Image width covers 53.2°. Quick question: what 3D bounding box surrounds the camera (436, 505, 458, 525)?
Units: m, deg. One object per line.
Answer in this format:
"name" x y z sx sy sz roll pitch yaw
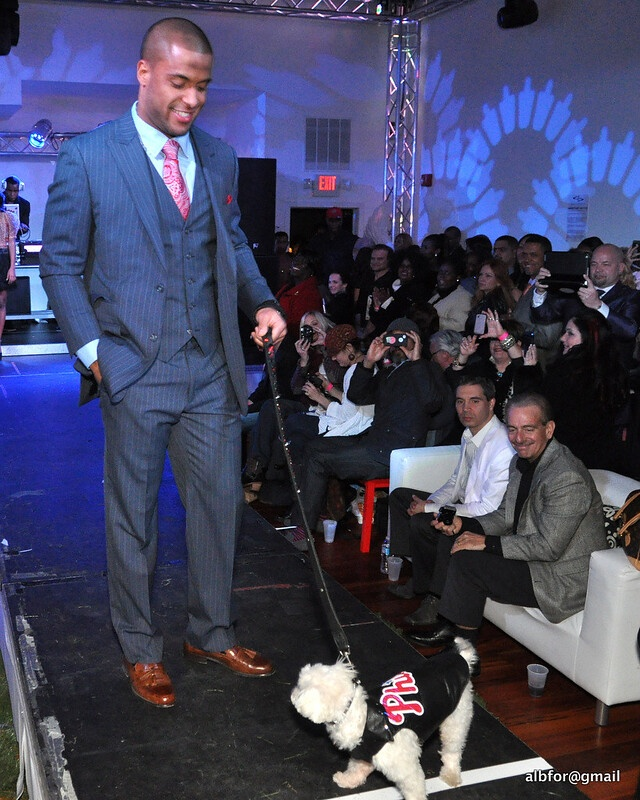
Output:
"camera" 0.514 0.475 2.661 0.081 0.077 0.057 16 10 -6

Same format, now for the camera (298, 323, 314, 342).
"camera" -0.100 -0.456 4.377 0.109 0.182 0.141 -1 4 -4

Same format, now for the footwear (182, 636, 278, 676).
"footwear" -0.273 0.770 1.953 0.270 0.103 0.087 7 3 12

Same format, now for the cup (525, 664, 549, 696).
"cup" 0.748 0.989 2.252 0.091 0.085 0.087 1 -8 0

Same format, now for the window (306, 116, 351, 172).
"window" 0.142 -4.296 10.697 0.889 0.816 0.016 16 29 31

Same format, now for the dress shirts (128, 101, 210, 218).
"dress shirts" -0.350 -0.538 1.529 0.138 0.296 0.056 -12 -3 -33

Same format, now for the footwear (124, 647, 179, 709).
"footwear" -0.469 0.765 1.758 0.072 0.076 0.179 1 5 -40

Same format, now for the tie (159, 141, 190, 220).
"tie" -0.340 -0.526 1.504 0.057 0.185 0.033 -10 6 -18
